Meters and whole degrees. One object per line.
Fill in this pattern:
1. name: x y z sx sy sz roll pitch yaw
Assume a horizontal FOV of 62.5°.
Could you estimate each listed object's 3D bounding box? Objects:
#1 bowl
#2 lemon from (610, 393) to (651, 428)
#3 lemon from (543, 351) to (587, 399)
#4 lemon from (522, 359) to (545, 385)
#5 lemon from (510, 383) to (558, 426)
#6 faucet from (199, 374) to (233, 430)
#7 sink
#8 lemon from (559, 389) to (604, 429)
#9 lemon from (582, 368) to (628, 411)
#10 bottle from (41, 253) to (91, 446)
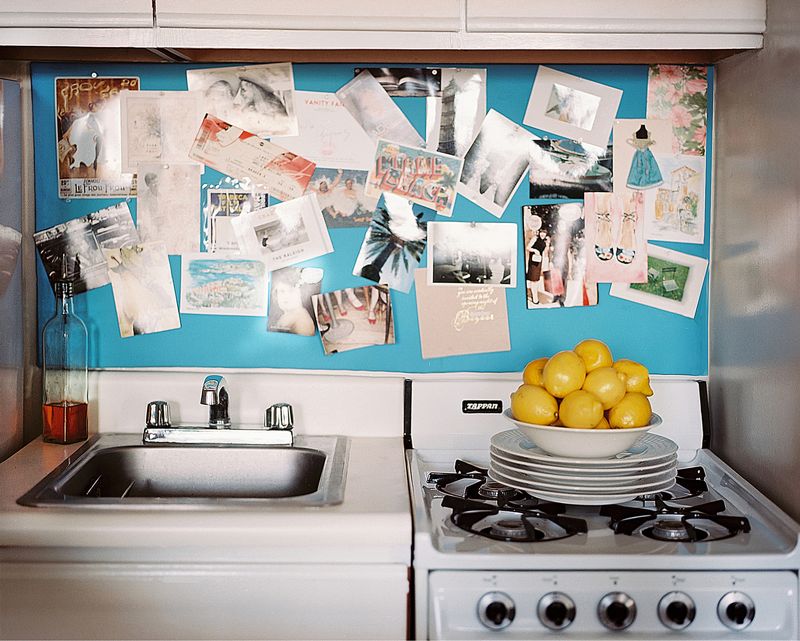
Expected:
1. bowl: 0.387 0.226 1.366 0.326 0.066 0.316 -1 5 0
2. lemon: 0.445 0.170 1.313 0.076 0.054 0.055 -25 16 -24
3. lemon: 0.320 0.107 1.341 0.076 0.095 0.073 41 -32 -22
4. lemon: 0.279 0.112 1.377 0.046 0.049 0.081 0 3 12
5. lemon: 0.264 0.171 1.341 0.087 0.053 0.066 27 61 33
6. faucet: -0.436 0.191 1.561 0.066 0.125 0.108 -2 3 -17
7. sink: -0.422 0.355 1.413 0.623 0.140 0.407 -1 3 -2
8. lemon: 0.347 0.175 1.273 0.082 0.072 0.075 0 3 15
9. lemon: 0.398 0.129 1.286 0.083 0.092 0.079 14 -7 -30
10. bottle: -0.809 0.065 1.592 0.105 0.449 0.135 -2 3 -25
